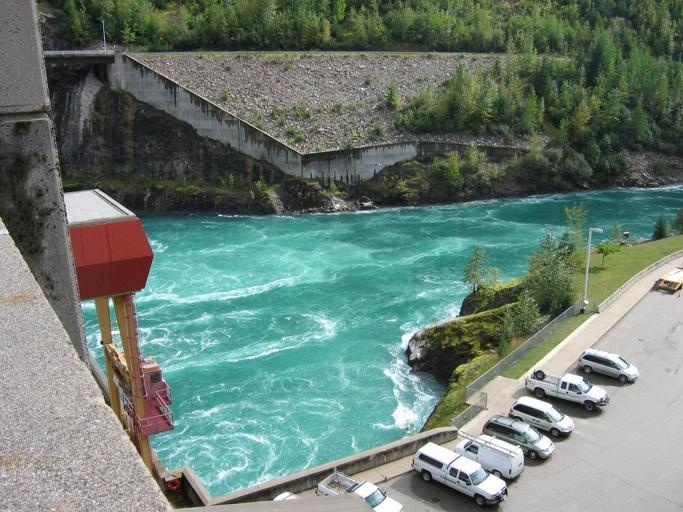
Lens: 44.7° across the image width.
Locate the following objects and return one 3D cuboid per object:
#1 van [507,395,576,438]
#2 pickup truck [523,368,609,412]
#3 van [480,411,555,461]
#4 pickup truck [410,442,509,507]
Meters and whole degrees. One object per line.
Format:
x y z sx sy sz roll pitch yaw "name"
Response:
11.672 8.984 48.104 3.079 1.514 1.832 8 23 33 "van"
13.769 8.177 50.745 4.320 1.659 2.152 11 27 33 "pickup truck"
10.026 9.801 46.731 3.549 1.659 1.838 10 27 34 "van"
6.141 11.543 43.729 3.644 2.355 5.405 -9 13 -42 "pickup truck"
